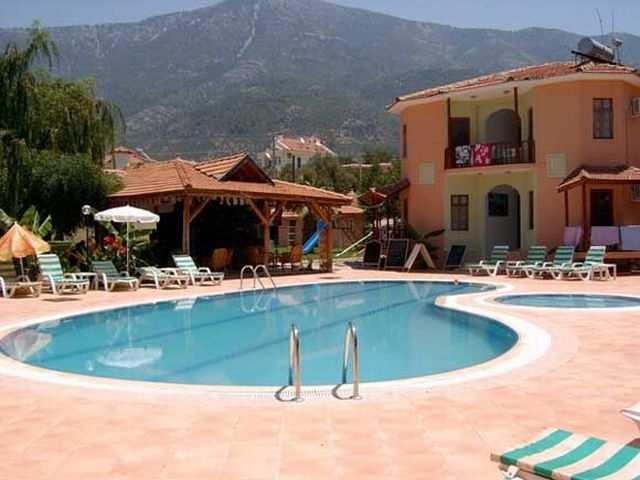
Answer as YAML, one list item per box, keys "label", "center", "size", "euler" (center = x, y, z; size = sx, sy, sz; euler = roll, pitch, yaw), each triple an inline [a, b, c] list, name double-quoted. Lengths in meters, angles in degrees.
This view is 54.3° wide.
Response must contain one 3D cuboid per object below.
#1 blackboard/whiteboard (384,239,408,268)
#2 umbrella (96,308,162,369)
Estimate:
- label: "blackboard/whiteboard"
  center: [3.017, 0.525, 24.487]
  size: [0.914, 1.140, 0.484]
  euler: [0, 3, 18]
- label: "umbrella"
  center: [-3.265, 1.707, 10.507]
  size: [0.663, 0.741, 0.703]
  euler: [1, -7, -21]
